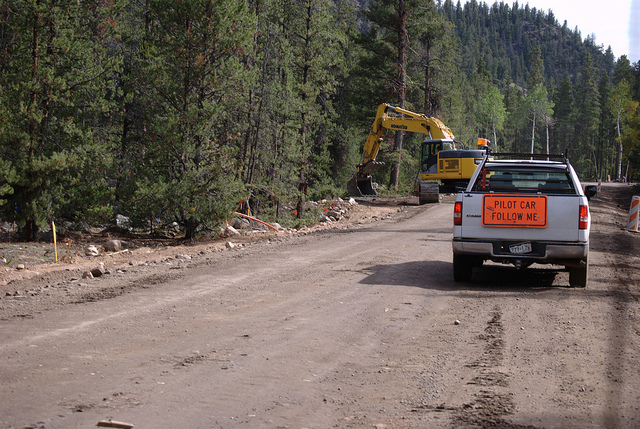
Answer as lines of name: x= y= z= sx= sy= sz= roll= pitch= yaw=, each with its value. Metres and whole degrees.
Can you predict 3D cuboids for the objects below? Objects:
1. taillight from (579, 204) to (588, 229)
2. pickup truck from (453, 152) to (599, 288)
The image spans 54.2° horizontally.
taillight: x=5.728 y=0.036 z=13.568 sx=0.197 sy=0.530 sz=0.119 roll=-1 pitch=13 yaw=0
pickup truck: x=4.903 y=-0.268 z=15.536 sx=2.287 sy=2.027 sz=4.008 roll=0 pitch=8 yaw=12
